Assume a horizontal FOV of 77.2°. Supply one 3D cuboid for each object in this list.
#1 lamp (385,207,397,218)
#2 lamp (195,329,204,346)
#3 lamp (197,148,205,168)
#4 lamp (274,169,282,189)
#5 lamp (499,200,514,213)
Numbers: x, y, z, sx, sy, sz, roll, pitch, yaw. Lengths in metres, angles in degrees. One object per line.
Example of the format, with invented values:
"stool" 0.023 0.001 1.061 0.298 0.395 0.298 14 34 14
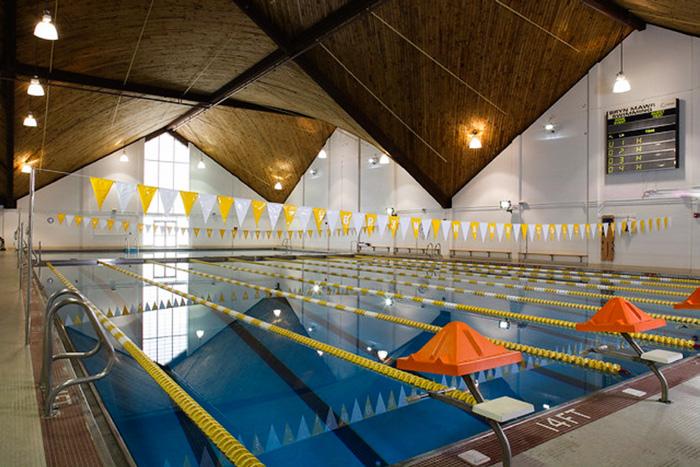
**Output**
"lamp" 1.383 -0.724 14.556 0.426 0.509 0.856 -1 -2 7
"lamp" -1.757 1.199 5.172 0.088 0.292 0.090 -5 -7 43
"lamp" -6.996 -3.544 20.779 0.344 0.868 0.625 -2 0 -18
"lamp" -3.499 -2.605 21.599 0.440 0.946 1.544 -2 1 -10
"lamp" 4.680 -0.828 13.189 0.351 0.257 0.316 -3 4 -39
